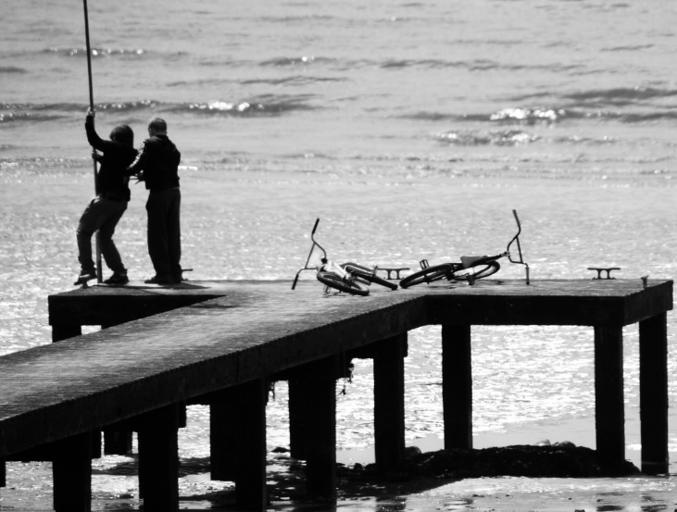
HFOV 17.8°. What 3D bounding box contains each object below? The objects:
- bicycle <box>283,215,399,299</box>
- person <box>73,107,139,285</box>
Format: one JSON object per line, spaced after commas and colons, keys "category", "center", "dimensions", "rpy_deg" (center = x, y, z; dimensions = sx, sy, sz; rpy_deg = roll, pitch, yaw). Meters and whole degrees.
{"category": "bicycle", "center": [0.387, 0.421, 45.098], "dimensions": [1.643, 0.669, 1.176], "rpy_deg": [5, 10, 36]}
{"category": "person", "center": [-4.669, -1.175, 44.960], "dimensions": [1.406, 3.624, 0.803], "rpy_deg": [-4, 11, -13]}
